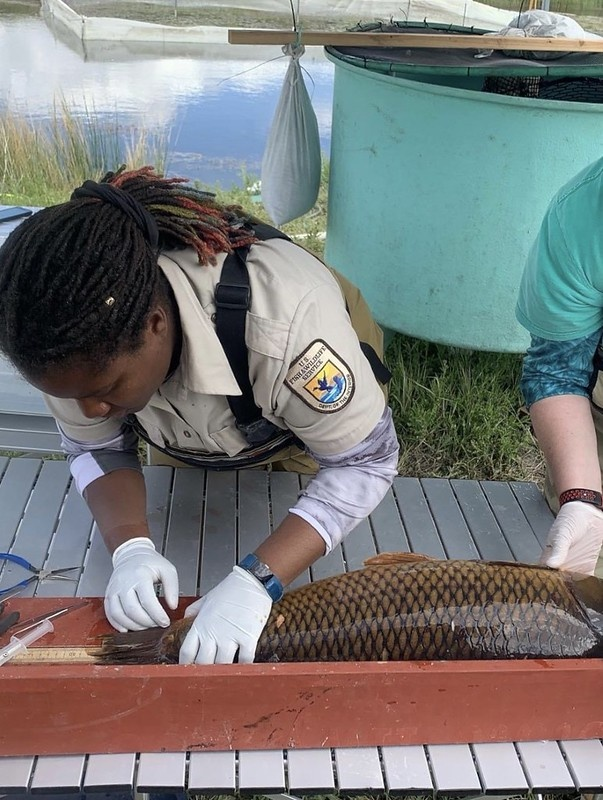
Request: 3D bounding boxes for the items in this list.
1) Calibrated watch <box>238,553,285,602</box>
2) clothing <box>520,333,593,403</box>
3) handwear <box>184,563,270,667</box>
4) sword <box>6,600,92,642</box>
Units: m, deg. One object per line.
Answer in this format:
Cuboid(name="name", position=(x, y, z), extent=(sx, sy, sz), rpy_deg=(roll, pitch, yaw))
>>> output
Cuboid(name="Calibrated watch", position=(-0.086, 0.389, 1.342), extent=(0.045, 0.070, 0.075), rpy_deg=(-43, 41, -23))
Cuboid(name="clothing", position=(0.755, -0.096, 1.803), extent=(0.184, 0.224, 0.139), rpy_deg=(16, 37, 16))
Cuboid(name="handwear", position=(-0.149, 0.439, 1.252), extent=(0.148, 0.065, 0.174), rpy_deg=(17, 55, 10))
Cuboid(name="sword", position=(-0.545, 0.485, 1.360), extent=(0.027, 0.023, 0.146), rpy_deg=(-2, 4, 24))
